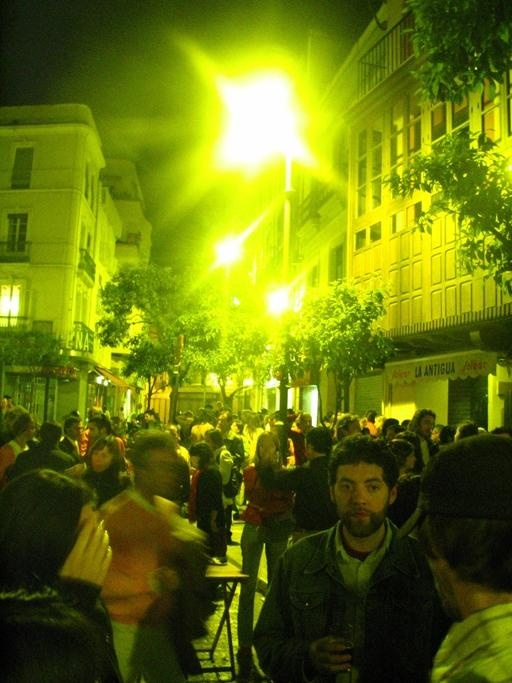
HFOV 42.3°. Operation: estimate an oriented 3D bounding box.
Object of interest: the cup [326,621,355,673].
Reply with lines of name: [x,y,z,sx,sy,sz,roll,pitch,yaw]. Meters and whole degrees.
cup: [0.285,1.118,2.400,0.116,0.135,0.113,2,-15,1]
